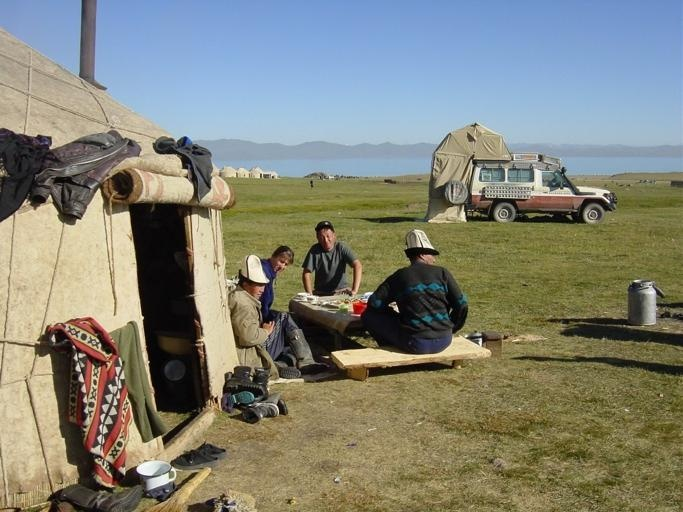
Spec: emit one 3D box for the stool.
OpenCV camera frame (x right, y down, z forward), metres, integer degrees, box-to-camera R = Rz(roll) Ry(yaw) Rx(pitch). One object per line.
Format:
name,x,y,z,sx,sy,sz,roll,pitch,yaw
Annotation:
stool,0.898,1.416,7.558,2.052,0.286,0.757,-4,1,-14

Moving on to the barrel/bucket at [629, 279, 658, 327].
barrel/bucket,5.184,0.805,9.738,0.481,0.734,0.369,5,14,20

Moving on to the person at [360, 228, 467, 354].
person,0.949,0.382,7.587,1.381,1.574,1.201,5,9,5

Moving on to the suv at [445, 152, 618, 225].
suv,7.708,-3.107,25.589,8.917,2.998,3.290,-1,10,0
